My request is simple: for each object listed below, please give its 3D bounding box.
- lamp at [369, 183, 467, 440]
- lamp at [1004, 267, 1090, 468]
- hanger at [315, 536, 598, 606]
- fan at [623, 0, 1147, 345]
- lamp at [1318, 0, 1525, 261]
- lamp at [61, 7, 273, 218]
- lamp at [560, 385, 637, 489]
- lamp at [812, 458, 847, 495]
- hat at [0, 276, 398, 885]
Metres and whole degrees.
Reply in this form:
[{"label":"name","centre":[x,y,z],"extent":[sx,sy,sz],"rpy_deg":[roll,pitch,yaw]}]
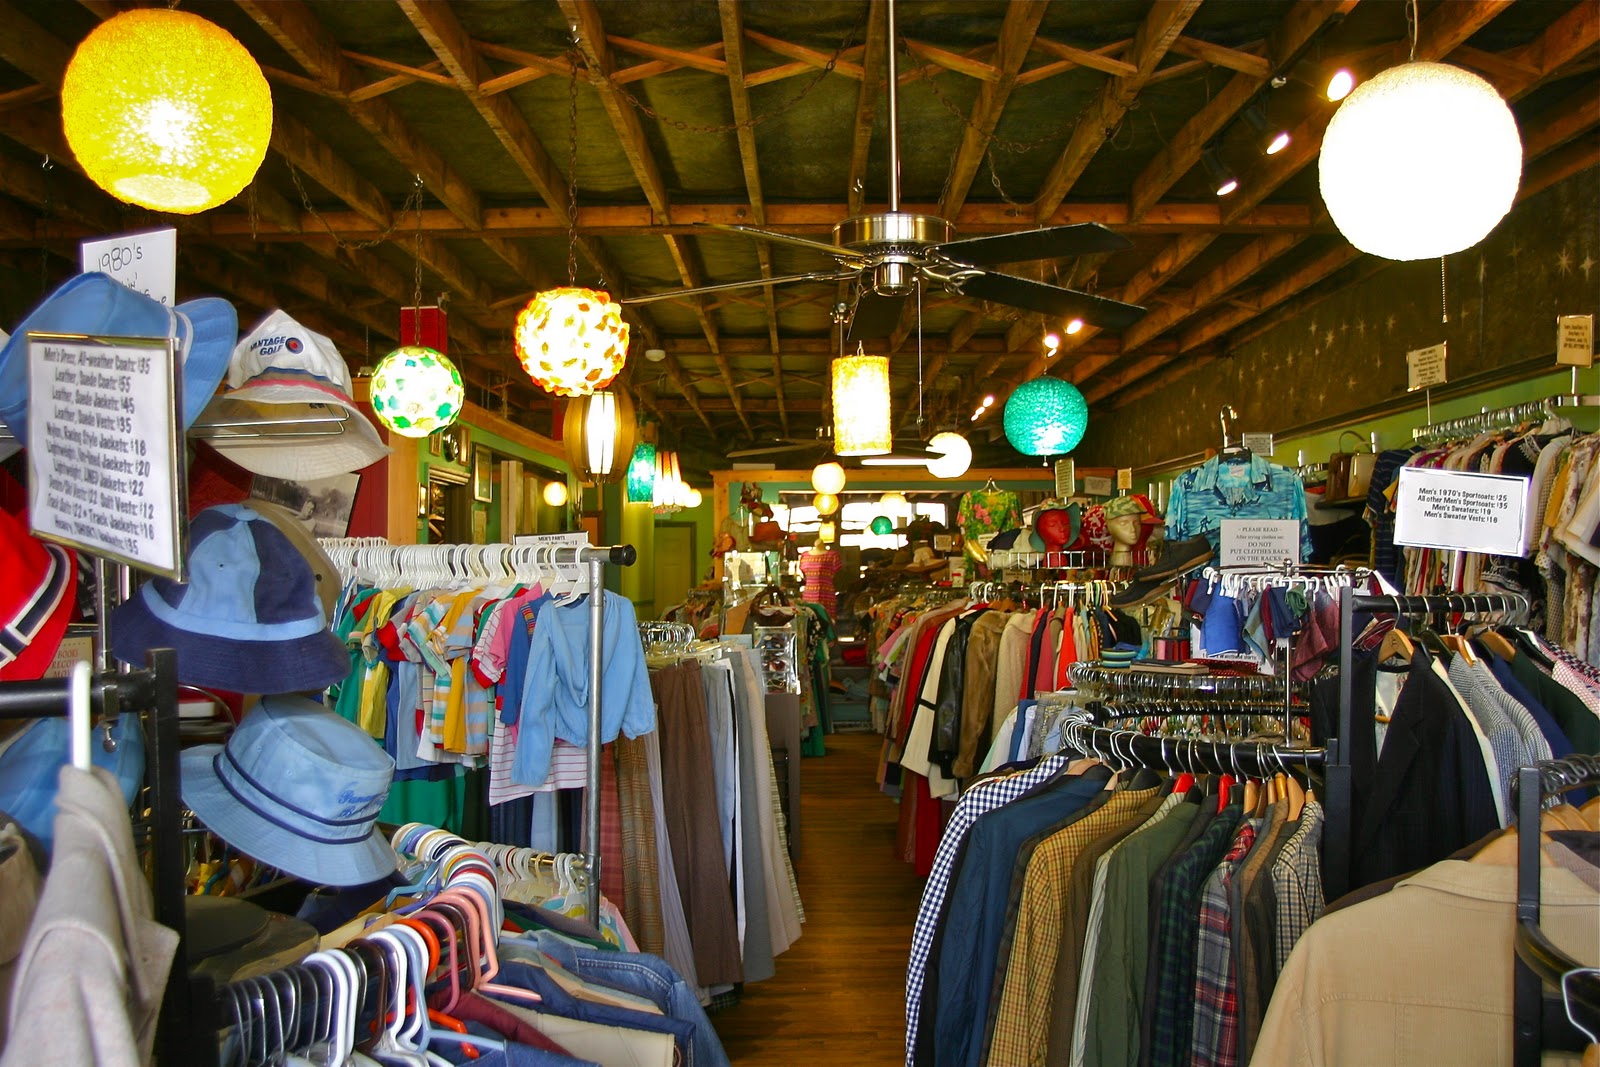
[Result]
[{"label":"lamp","centre":[-1.862,-0.985,5.590],"extent":[0.406,1.040,0.400],"rpy_deg":[-8,3,-24]},{"label":"lamp","centre":[1.467,-1.069,7.165],"extent":[0.563,1.177,0.569],"rpy_deg":[-8,3,-11]},{"label":"hanger","centre":[-1.148,0.134,3.928],"extent":[1.291,0.146,0.199],"rpy_deg":[2,2,29]},{"label":"fan","centre":[0.368,-0.993,4.606],"extent":[1.778,1.683,1.700],"rpy_deg":[-1,4,-15]},{"label":"lamp","centre":[1.679,-1.025,3.190],"extent":[0.441,0.494,0.304],"rpy_deg":[2,-1,-3]},{"label":"lamp","centre":[-1.760,-1.209,3.247],"extent":[0.501,0.507,0.233],"rpy_deg":[3,-2,-21]},{"label":"lamp","centre":[-1.109,-0.528,6.481],"extent":[0.417,0.512,0.399],"rpy_deg":[9,-15,-43]},{"label":"lamp","centre":[0.222,-0.469,9.911],"extent":[0.279,0.281,0.282],"rpy_deg":[-3,18,11]},{"label":"hat","centre":[-0.975,0.032,2.169],"extent":[0.684,0.413,0.996],"rpy_deg":[30,26,-35]}]
